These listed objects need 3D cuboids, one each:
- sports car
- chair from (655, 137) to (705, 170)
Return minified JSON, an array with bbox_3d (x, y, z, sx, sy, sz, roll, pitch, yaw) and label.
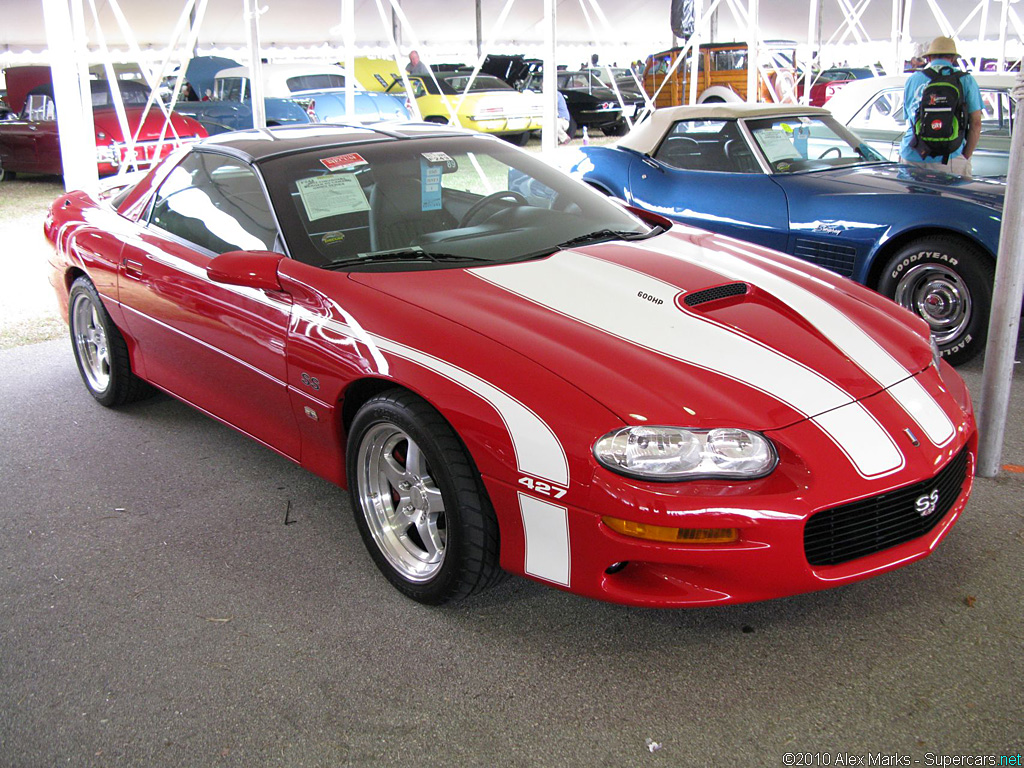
[{"bbox_3d":[-0.550,-0.466,3.416,4.470,1.098,2.147,18,29,39],"label":"sports car"},{"bbox_3d":[1.474,-2.034,6.324,0.347,0.387,0.347,4,56,-1],"label":"chair"}]
